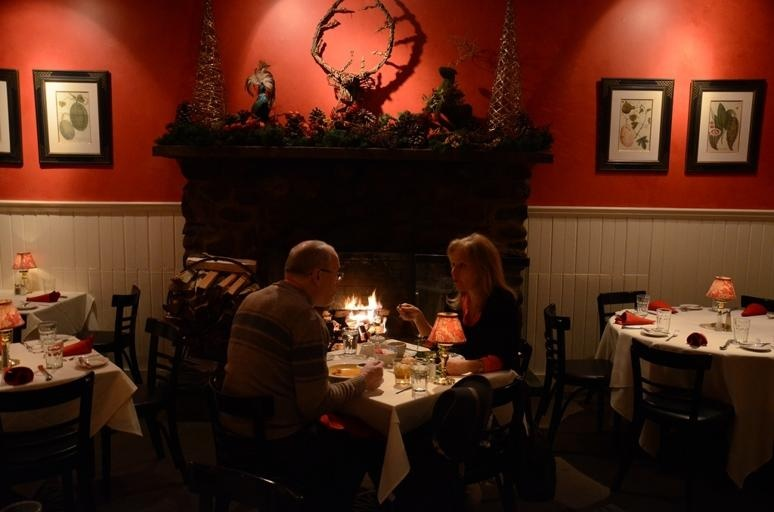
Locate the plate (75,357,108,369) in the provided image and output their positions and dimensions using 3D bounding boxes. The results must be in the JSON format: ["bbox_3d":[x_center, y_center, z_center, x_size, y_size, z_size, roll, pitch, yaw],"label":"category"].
[{"bbox_3d":[-2.313,0.834,4.408,0.251,0.059,0.163,1,5,6],"label":"plate"}]

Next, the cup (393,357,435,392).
[{"bbox_3d":[0.176,0.837,3.955,0.225,0.146,0.199,1,-6,11],"label":"cup"}]

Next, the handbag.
[{"bbox_3d":[1.031,1.305,3.996,0.295,0.831,0.368,-3,-14,-13],"label":"handbag"}]

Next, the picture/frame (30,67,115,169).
[{"bbox_3d":[-3.492,-1.591,6.280,1.049,1.361,0.108,0,5,-6],"label":"picture/frame"}]

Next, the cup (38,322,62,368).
[{"bbox_3d":[-2.594,0.682,4.352,0.142,0.348,0.247,-4,7,-31],"label":"cup"}]

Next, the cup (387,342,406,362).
[{"bbox_3d":[0.067,0.730,4.354,0.107,0.106,0.133,0,-3,5],"label":"cup"}]
